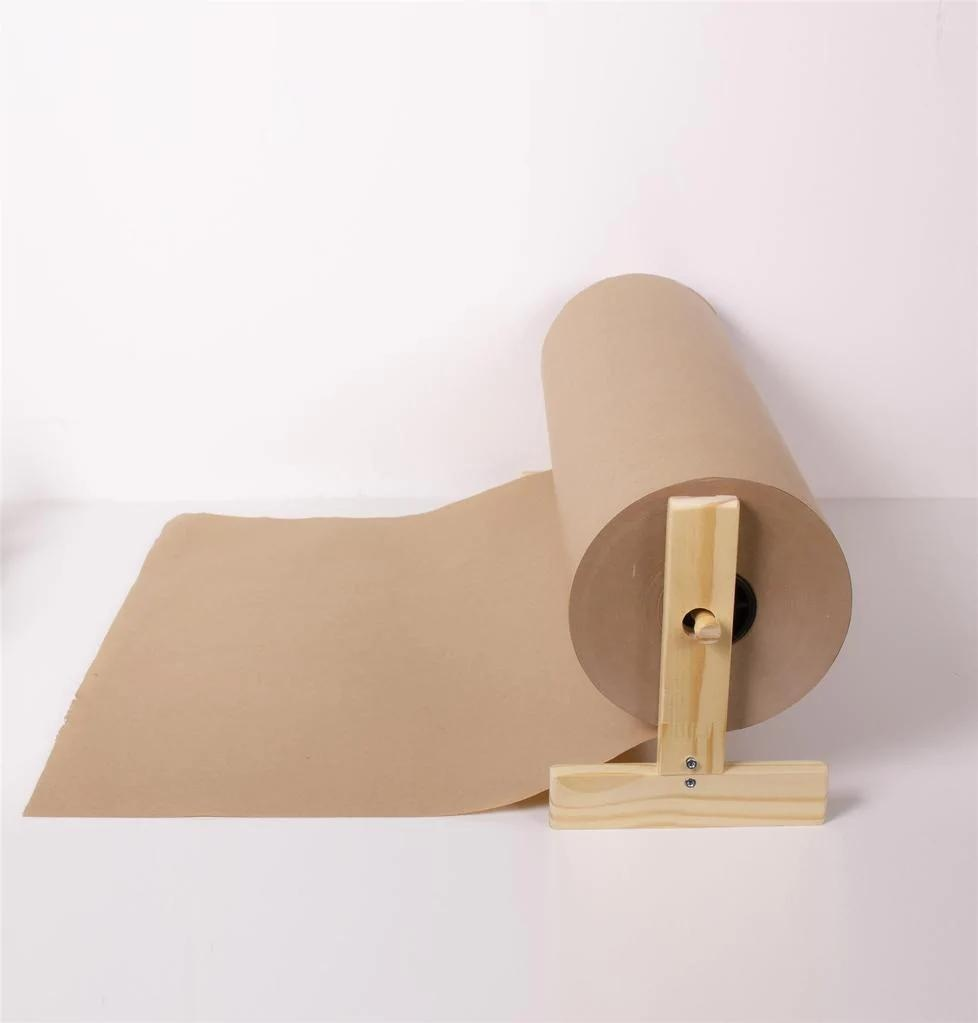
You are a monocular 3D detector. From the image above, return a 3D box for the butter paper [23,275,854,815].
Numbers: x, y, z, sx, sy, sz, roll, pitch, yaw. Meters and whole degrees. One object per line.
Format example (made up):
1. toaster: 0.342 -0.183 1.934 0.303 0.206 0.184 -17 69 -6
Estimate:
1. butter paper: -0.084 0.143 2.117 1.120 1.093 0.441 -1 -66 0
